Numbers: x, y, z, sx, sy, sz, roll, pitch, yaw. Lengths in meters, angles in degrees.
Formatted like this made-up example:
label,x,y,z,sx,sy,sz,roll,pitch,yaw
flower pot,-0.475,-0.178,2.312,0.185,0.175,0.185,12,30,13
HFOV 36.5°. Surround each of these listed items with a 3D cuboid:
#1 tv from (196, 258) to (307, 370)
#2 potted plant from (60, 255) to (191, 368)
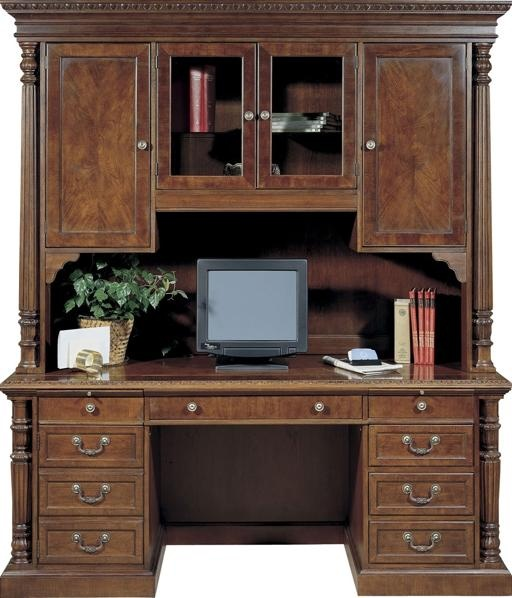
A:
label,x,y,z,sx,sy,sz,roll,pitch,yaw
tv,-0.063,0.062,3.305,0.506,0.454,0.281,1,0,-22
potted plant,-0.557,0.040,3.351,0.526,0.364,0.447,2,4,15
